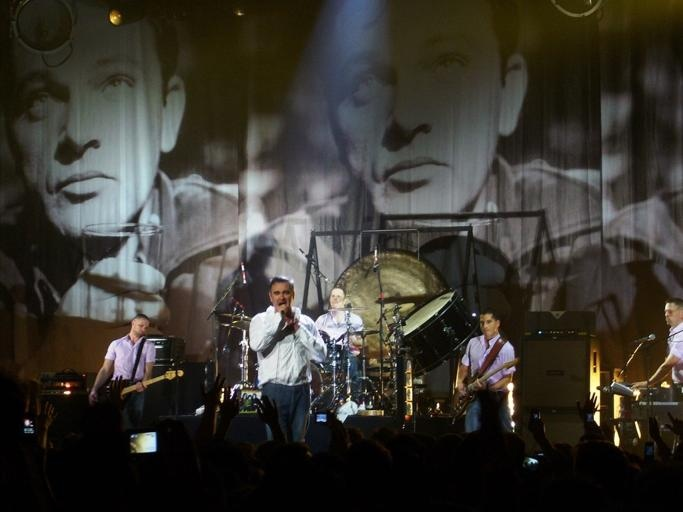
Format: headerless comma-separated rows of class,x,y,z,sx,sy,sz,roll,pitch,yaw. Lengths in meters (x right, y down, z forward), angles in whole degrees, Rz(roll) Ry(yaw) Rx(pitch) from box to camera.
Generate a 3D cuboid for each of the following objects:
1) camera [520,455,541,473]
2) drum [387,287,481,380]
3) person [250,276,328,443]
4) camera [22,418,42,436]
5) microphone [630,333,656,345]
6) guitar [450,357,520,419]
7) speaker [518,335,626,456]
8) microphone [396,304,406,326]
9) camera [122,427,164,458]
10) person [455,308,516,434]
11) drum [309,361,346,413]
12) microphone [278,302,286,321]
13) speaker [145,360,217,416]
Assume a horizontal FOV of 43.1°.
camera,1.500,1.632,6.803,0.071,0.092,0.134,-5,-6,40
drum,1.149,0.803,10.149,0.933,0.582,0.925,-35,12,9
person,-0.525,1.003,8.787,0.704,1.727,0.616,0,2,-29
camera,-2.382,1.324,6.683,0.148,0.141,0.079,15,-30,-25
microphone,4.050,1.113,11.625,0.107,0.132,0.472,-20,-3,-29
guitar,1.643,1.608,10.129,0.640,0.790,0.574,0,0,-1
speaker,2.557,1.488,10.074,0.914,1.964,0.903,0,-6,2
microphone,0.701,0.683,10.195,0.132,0.257,0.155,-4,-5,2
camera,-1.494,1.423,6.587,0.273,0.243,0.151,0,-5,0
person,1.616,1.294,10.000,0.666,1.663,0.620,0,1,29
drum,-0.182,1.657,10.891,0.426,0.635,0.423,0,-1,0
microphone,-0.582,0.544,8.660,0.079,0.154,0.066,-12,-16,38
speaker,-1.990,1.612,10.487,0.804,0.932,0.743,2,-2,-41
